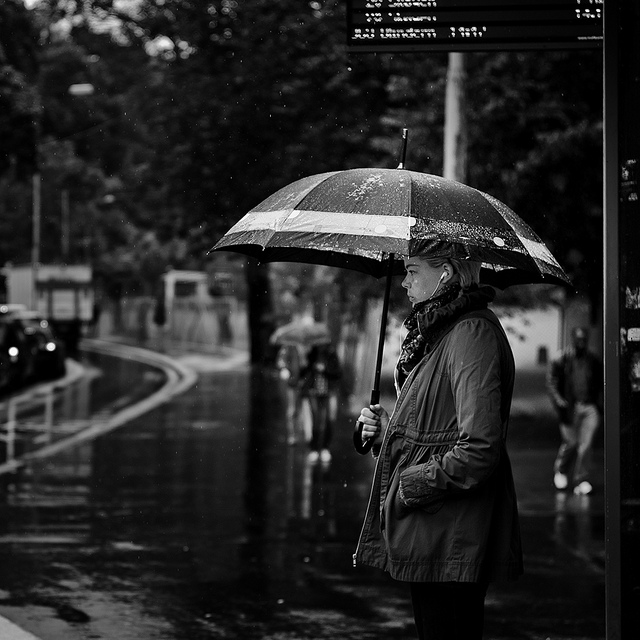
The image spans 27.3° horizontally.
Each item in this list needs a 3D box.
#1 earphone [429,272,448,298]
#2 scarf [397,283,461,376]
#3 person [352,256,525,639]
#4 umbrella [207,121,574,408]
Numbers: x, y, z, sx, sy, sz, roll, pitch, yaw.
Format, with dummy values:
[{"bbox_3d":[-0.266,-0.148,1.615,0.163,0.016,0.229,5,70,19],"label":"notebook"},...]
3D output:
[{"bbox_3d":[0.429,-0.134,4.894,0.018,0.107,0.015,18,-9,29],"label":"earphone"},{"bbox_3d":[0.378,0.034,4.867,0.308,0.334,0.206,-11,-1,23],"label":"scarf"},{"bbox_3d":[0.412,0.447,4.767,0.655,1.378,0.425,-11,0,11],"label":"person"},{"bbox_3d":[0.138,-0.376,5.196,1.300,1.175,1.289,9,-1,-33],"label":"umbrella"}]
